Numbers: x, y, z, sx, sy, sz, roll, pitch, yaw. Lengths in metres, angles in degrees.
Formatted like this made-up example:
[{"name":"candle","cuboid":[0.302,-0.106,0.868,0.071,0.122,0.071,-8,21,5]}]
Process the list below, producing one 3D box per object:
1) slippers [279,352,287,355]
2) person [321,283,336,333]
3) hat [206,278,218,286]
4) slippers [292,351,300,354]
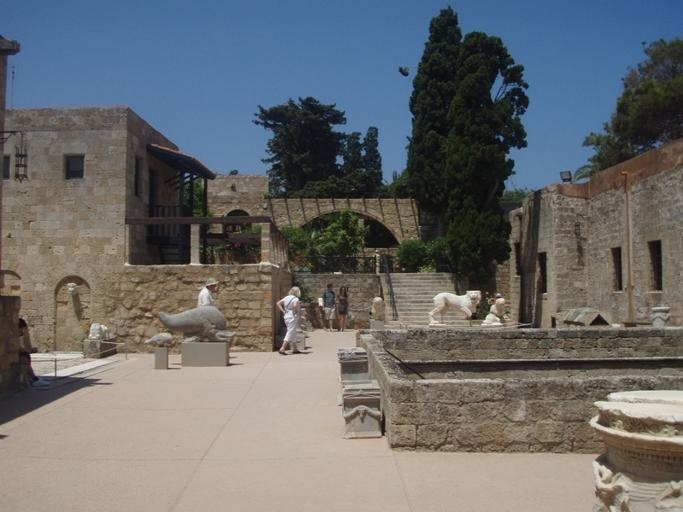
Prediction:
[{"name":"slippers","cuboid":[-1.398,2.322,17.269,0.187,0.078,0.062,0,-1,-7]},{"name":"person","cuboid":[-0.382,1.672,23.638,0.377,1.608,0.808,-1,10,-1]},{"name":"hat","cuboid":[-2.994,0.602,16.702,0.227,0.083,0.235,-4,-8,-7]},{"name":"slippers","cuboid":[-1.093,2.313,17.398,0.192,0.073,0.070,-6,-5,28]}]
